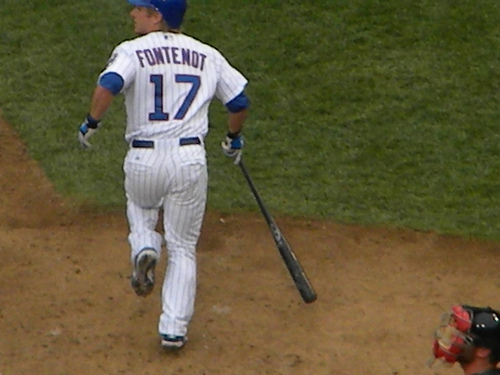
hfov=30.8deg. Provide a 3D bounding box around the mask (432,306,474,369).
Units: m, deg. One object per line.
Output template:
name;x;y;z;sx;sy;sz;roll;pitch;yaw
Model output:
mask;2.141;1.572;9.487;0.393;0.659;0.338;20;37;16

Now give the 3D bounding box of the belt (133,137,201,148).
belt;-0.984;-0.522;10.761;0.784;0.160;0.121;2;36;-9

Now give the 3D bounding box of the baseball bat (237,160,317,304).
baseball bat;0.373;0.698;12.480;0.174;0.175;2.080;-23;72;-10
